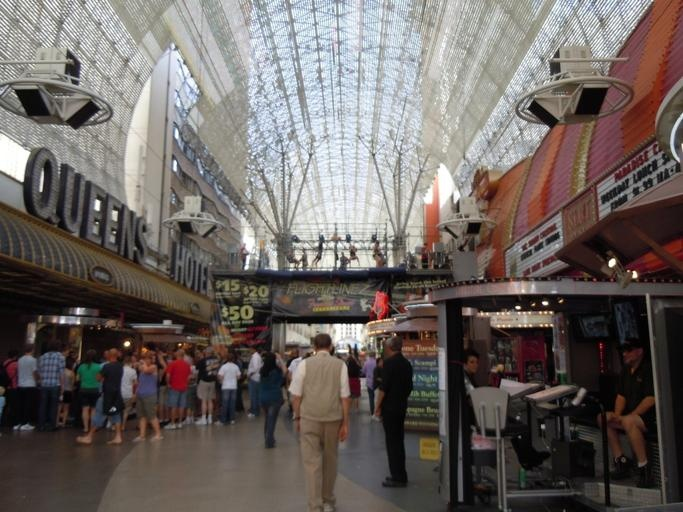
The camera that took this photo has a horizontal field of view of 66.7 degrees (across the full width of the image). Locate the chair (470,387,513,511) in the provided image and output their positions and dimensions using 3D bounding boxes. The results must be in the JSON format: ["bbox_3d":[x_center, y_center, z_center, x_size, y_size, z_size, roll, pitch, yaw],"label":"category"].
[{"bbox_3d":[2.125,2.688,7.256,0.523,1.647,0.358,-5,-14,20],"label":"chair"}]

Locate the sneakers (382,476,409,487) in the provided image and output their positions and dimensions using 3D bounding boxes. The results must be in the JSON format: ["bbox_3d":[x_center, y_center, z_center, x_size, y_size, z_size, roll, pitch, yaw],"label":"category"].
[{"bbox_3d":[0.858,3.617,8.311,0.295,0.141,0.168,-3,-8,10],"label":"sneakers"}]

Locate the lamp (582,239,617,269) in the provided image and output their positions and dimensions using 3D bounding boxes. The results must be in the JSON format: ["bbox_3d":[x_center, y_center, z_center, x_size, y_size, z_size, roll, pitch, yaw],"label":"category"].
[{"bbox_3d":[4.059,-0.085,8.140,0.300,0.314,0.360,-37,-25,-39],"label":"lamp"}]

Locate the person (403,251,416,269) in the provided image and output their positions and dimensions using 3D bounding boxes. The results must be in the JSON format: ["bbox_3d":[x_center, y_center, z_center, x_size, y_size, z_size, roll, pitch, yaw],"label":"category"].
[{"bbox_3d":[4.202,0.304,31.513,0.783,1.555,0.857,5,-47,6],"label":"person"}]

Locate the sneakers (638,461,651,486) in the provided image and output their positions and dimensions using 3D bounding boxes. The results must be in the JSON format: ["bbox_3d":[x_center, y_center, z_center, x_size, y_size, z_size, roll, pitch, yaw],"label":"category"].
[{"bbox_3d":[4.003,2.896,6.855,0.175,0.310,0.114,-8,-15,28],"label":"sneakers"}]

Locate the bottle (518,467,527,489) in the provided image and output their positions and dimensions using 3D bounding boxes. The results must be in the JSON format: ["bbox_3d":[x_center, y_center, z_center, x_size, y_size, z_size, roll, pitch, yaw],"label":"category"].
[{"bbox_3d":[2.787,3.390,7.971,0.116,0.292,0.353,-5,-15,17],"label":"bottle"}]

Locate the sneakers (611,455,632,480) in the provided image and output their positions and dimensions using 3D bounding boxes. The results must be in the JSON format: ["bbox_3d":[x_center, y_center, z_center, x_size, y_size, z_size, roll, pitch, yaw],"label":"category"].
[{"bbox_3d":[3.921,2.984,7.307,0.377,0.304,0.183,9,-17,-34],"label":"sneakers"}]

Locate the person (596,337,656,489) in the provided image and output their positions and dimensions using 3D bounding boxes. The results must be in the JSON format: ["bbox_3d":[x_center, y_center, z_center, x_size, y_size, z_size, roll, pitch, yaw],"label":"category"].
[{"bbox_3d":[4.064,2.162,7.315,0.652,1.965,0.812,-8,-15,28],"label":"person"}]

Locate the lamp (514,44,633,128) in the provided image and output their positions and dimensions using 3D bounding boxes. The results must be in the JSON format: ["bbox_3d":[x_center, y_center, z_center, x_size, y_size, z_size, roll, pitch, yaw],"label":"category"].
[{"bbox_3d":[4.233,-3.197,9.496,1.925,1.163,1.961,-4,13,44],"label":"lamp"}]
